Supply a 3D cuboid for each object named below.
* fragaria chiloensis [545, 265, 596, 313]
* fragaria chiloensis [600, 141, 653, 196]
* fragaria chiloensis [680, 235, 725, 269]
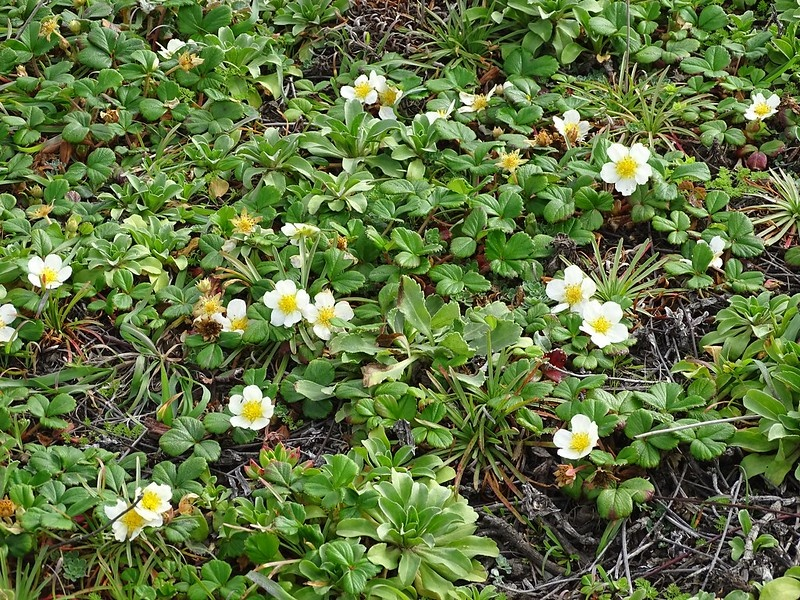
[{"bbox_3d":[0.813,-0.044,3.011,0.216,0.072,0.223,-39,77,1],"label":"fragaria chiloensis"},{"bbox_3d":[1.156,-0.650,3.275,0.245,0.081,0.261,43,91,4],"label":"fragaria chiloensis"},{"bbox_3d":[1.548,-0.232,3.178,0.080,0.171,0.139,-2,10,-35],"label":"fragaria chiloensis"}]
